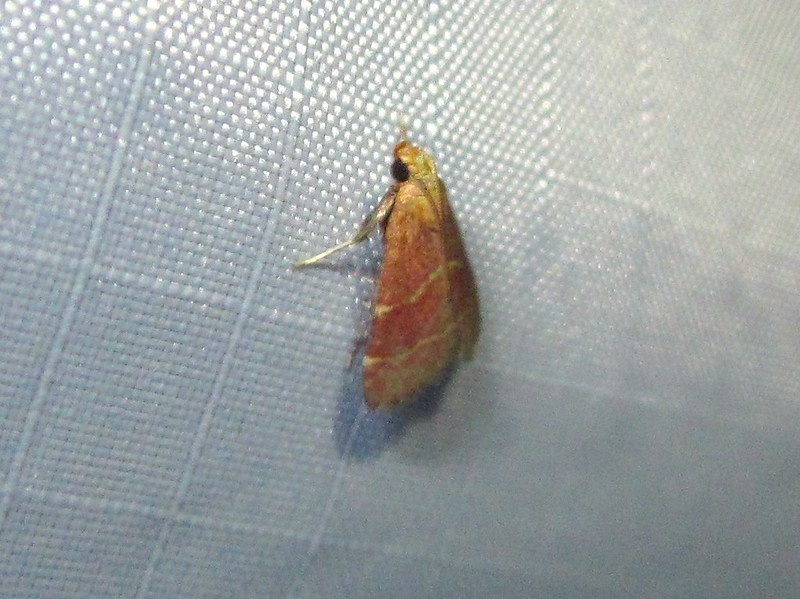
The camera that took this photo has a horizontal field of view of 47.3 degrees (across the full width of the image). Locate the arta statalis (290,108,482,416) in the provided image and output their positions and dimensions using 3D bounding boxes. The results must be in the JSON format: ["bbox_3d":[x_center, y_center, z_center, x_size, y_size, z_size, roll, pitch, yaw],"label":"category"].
[{"bbox_3d":[-0.009,-0.051,1.158,0.230,0.343,0.088,-8,8,-39],"label":"arta statalis"}]
